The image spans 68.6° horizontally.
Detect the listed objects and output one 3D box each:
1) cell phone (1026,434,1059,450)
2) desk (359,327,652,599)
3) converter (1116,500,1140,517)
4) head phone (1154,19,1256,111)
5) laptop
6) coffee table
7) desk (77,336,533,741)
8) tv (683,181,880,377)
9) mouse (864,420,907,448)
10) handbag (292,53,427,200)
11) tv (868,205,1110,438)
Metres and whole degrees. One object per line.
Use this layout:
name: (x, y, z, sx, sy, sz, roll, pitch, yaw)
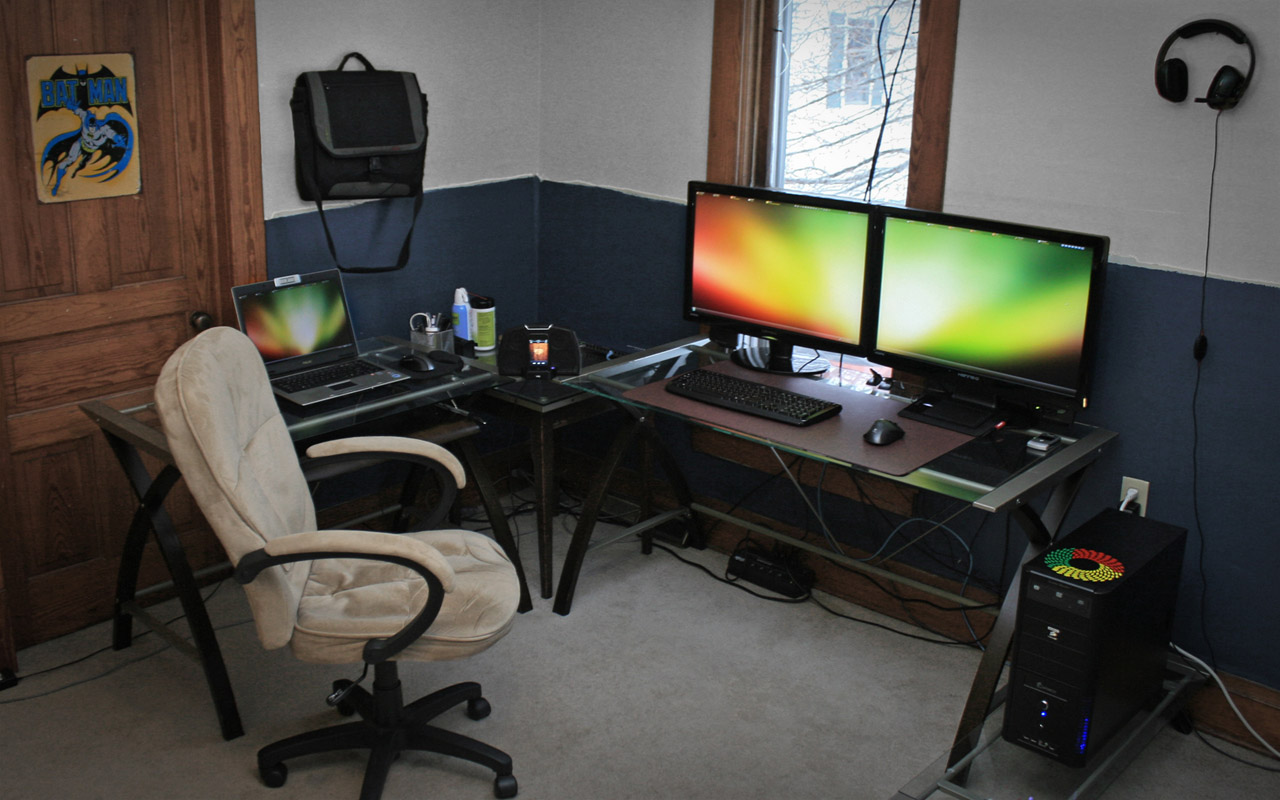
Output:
cell phone: (1.364, 0.142, 3.172, 0.078, 0.025, 0.114, 13, 22, 34)
desk: (-0.552, 0.219, 4.122, 1.177, 1.039, 1.100, 18, 26, 38)
converter: (1.739, 0.381, 3.325, 0.078, 0.064, 0.061, -2, 10, -16)
head phone: (1.870, -1.107, 3.080, 0.296, 0.270, 0.116, 12, 16, 43)
laptop: (-1.251, -0.260, 3.679, 0.581, 0.419, 0.609, -20, 36, -42)
coffee table: (-0.252, 0.056, 4.242, 1.075, 0.959, 1.083, 20, 31, 38)
desk: (-1.058, 0.283, 3.361, 1.639, 1.425, 1.108, 1, 19, -2)
tv: (0.563, -0.479, 3.640, 0.705, 0.601, 0.185, 14, 26, 29)
mouse: (0.845, 0.106, 3.208, 0.177, 0.065, 0.095, -14, 23, -36)
handbag: (-1.172, -1.133, 3.873, 0.567, 0.523, 0.272, -10, 21, -32)
tv: (1.257, -0.283, 3.296, 0.697, 0.596, 0.223, 21, 30, 33)
